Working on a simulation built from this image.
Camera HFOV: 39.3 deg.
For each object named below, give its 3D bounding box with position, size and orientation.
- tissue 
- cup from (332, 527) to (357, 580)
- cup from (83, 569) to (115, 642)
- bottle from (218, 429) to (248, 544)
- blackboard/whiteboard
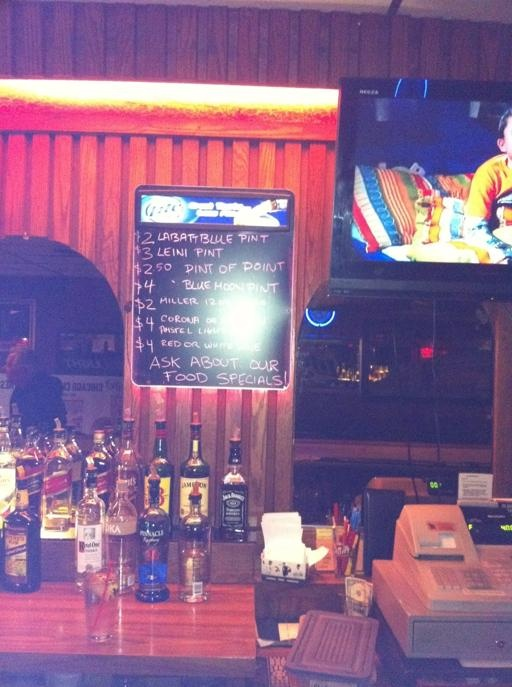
[{"bbox_3d":[0.121,0.624,2.259,0.176,0.235,0.180,0,-8,12],"label":"tissue "},{"bbox_3d":[0.279,0.666,2.319,0.077,0.152,0.085,0,0,-39],"label":"cup"},{"bbox_3d":[-0.432,0.703,1.993,0.082,0.169,0.214,0,0,-12],"label":"cup"},{"bbox_3d":[-0.076,0.475,2.447,0.095,0.359,0.198,0,0,-2],"label":"bottle"},{"bbox_3d":[-0.153,-0.200,2.514,0.506,0.834,0.072,2,0,0],"label":"blackboard/whiteboard"}]
